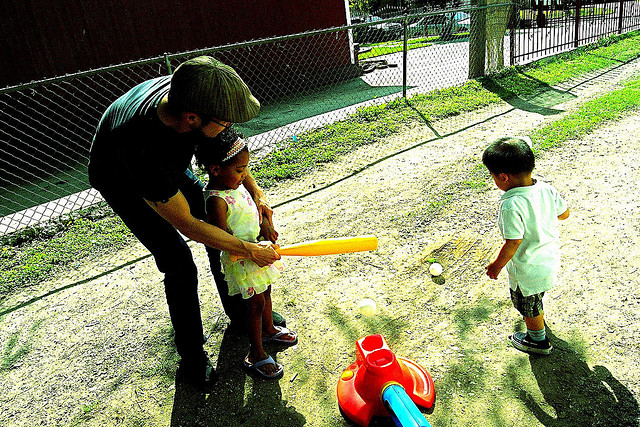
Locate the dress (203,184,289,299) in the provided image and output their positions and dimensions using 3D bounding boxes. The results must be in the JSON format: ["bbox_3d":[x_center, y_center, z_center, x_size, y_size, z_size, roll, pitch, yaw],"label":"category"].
[{"bbox_3d":[-0.624,0.293,3.877,0.486,1.039,0.507,-20,31,-12],"label":"dress"}]

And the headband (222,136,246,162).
[{"bbox_3d":[-0.654,-0.511,3.651,0.183,0.044,0.135,-37,19,17],"label":"headband"}]

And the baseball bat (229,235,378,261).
[{"bbox_3d":[-0.119,0.320,4.148,1.152,0.182,0.174,-6,69,-9],"label":"baseball bat"}]

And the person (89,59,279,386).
[{"bbox_3d":[-1.013,0.117,3.796,1.280,2.544,0.994,-27,33,-23],"label":"person"}]

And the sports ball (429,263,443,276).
[{"bbox_3d":[1.161,0.555,4.676,0.118,0.096,0.122,-9,30,5],"label":"sports ball"}]

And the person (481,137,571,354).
[{"bbox_3d":[1.618,0.282,3.787,0.597,1.672,0.705,3,34,26],"label":"person"}]
